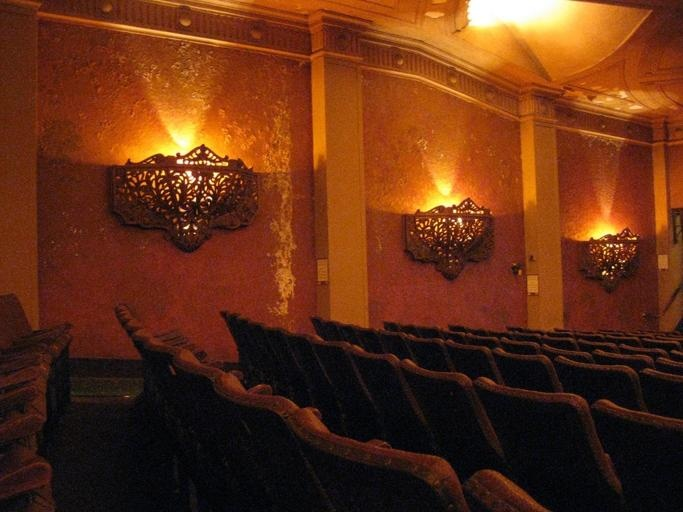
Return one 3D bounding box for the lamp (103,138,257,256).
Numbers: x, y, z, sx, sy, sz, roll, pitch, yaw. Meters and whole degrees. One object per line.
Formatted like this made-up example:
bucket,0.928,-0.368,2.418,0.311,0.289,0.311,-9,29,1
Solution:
lamp,-1.660,-0.676,6.447,1.691,1.333,0.346,-3,22,-37
